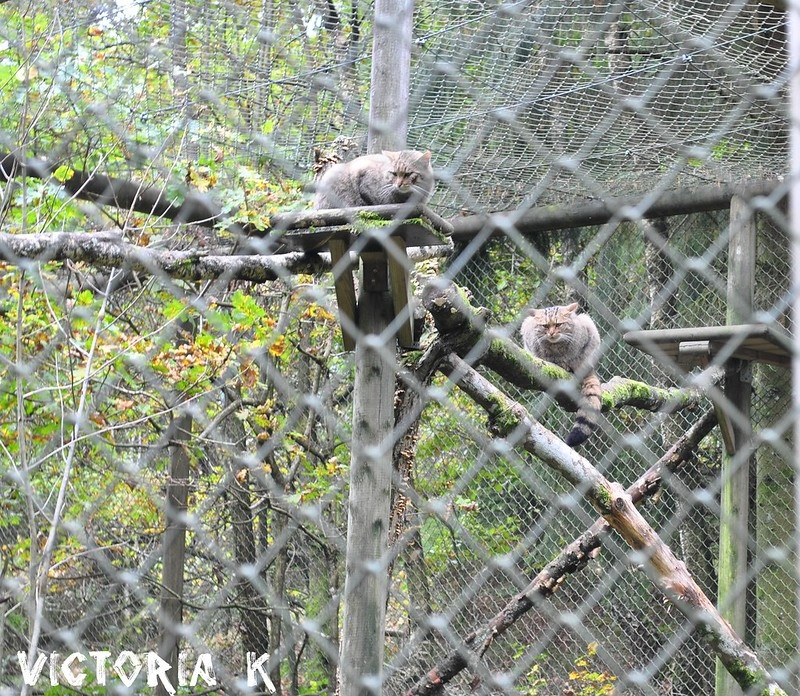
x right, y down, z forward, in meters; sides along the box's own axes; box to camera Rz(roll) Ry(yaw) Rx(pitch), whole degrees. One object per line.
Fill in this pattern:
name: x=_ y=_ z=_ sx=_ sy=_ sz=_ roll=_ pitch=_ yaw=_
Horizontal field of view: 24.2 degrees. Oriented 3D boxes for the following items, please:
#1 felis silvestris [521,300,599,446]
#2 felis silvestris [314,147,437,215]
felis silvestris: x=1.100 y=0.155 z=12.438 sx=0.381 sy=1.095 sz=0.468 roll=-7 pitch=-63 yaw=16
felis silvestris: x=-0.092 y=-1.060 z=11.135 sx=0.378 sy=0.651 sz=0.345 roll=-30 pitch=-68 yaw=-49
